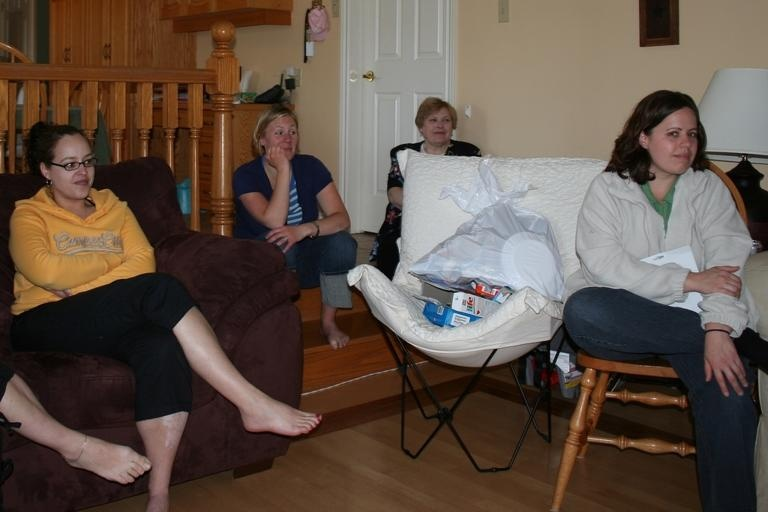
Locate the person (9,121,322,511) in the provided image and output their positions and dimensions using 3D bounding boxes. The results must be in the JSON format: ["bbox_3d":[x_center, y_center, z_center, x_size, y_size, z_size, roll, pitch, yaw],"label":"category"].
[{"bbox_3d":[-0.978,0.176,2.212,1.098,1.287,0.616,12,21,37],"label":"person"}]

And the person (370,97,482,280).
[{"bbox_3d":[0.330,-0.432,3.841,0.880,1.099,0.672,-1,25,3],"label":"person"}]

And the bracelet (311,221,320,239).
[{"bbox_3d":[-0.340,-0.139,2.954,0.019,0.062,0.065,-2,43,-19],"label":"bracelet"}]

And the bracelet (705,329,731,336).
[{"bbox_3d":[1.176,0.263,2.072,0.079,0.024,0.020,2,17,9],"label":"bracelet"}]

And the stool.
[{"bbox_3d":[0.944,0.620,2.465,0.575,0.475,0.622,9,8,2],"label":"stool"}]
